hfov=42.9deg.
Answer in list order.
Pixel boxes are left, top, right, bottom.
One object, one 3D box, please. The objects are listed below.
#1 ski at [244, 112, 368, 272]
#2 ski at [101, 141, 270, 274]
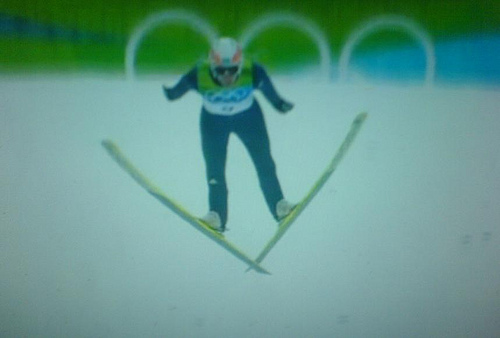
[{"bbox_3d":[0.428,0.247,5.579,0.125,1.542,0.223,30,5,-23],"label":"ski"},{"bbox_3d":[-0.527,0.373,5.592,1.668,0.131,0.185,38,-21,-1],"label":"ski"}]
